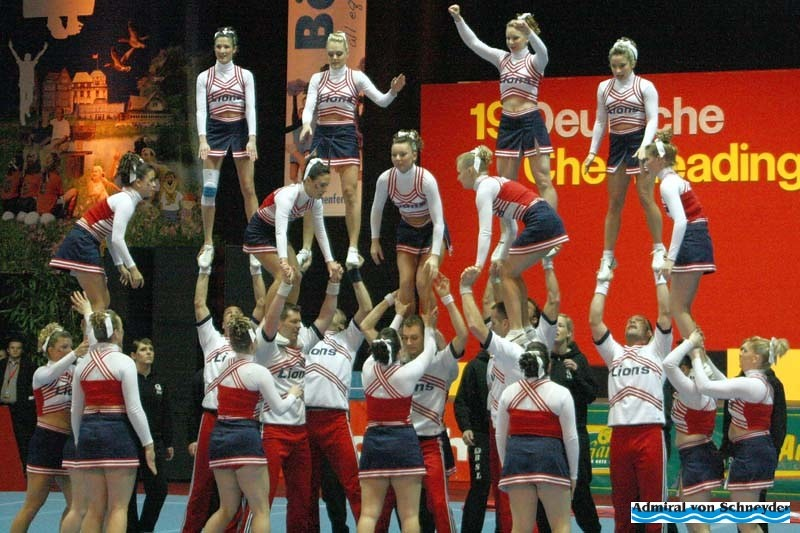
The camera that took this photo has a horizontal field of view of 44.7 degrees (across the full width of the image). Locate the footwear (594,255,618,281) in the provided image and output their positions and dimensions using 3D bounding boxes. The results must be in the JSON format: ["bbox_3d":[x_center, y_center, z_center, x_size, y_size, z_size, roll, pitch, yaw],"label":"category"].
[{"bbox_3d":[2.741,0.039,12.841,0.257,0.332,0.128,4,-17,1],"label":"footwear"}]

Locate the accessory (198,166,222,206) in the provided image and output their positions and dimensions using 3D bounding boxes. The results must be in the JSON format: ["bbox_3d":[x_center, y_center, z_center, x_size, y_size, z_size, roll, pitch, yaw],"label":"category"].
[{"bbox_3d":[-2.701,-1.081,13.697,0.246,0.531,0.218,3,-5,-7],"label":"accessory"}]

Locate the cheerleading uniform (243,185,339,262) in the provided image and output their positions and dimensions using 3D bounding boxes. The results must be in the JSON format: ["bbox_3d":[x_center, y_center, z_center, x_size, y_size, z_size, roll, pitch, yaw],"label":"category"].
[{"bbox_3d":[-1.508,-0.595,12.930,1.284,1.115,0.986,10,3,32],"label":"cheerleading uniform"}]

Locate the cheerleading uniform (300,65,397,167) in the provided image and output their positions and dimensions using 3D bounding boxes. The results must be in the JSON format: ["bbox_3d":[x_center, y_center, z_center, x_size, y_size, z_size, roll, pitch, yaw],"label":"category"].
[{"bbox_3d":[-0.807,-2.054,13.547,1.047,1.367,0.476,2,-6,-6],"label":"cheerleading uniform"}]

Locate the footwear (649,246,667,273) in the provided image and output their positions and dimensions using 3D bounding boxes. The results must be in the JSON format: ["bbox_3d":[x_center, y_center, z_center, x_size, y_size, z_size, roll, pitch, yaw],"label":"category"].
[{"bbox_3d":[3.458,-0.121,12.962,0.143,0.447,0.173,-6,-35,33],"label":"footwear"}]

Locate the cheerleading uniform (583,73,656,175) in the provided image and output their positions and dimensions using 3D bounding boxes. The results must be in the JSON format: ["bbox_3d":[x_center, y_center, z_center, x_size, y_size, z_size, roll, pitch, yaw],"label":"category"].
[{"bbox_3d":[3.018,-1.911,13.103,0.909,1.319,0.336,-4,-8,38],"label":"cheerleading uniform"}]

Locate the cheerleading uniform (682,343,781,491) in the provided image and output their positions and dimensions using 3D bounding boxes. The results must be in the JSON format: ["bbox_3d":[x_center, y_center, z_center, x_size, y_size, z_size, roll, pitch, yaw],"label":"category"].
[{"bbox_3d":[4.349,1.943,12.364,1.387,2.063,0.573,5,-7,-29],"label":"cheerleading uniform"}]

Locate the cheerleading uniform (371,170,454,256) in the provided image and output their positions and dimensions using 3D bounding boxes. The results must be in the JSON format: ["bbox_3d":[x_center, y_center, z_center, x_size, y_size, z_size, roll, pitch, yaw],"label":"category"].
[{"bbox_3d":[0.122,-0.691,12.885,1.009,1.388,0.954,0,22,7],"label":"cheerleading uniform"}]

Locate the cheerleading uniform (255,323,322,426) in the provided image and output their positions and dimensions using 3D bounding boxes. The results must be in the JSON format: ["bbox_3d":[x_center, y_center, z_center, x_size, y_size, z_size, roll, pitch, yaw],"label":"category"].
[{"bbox_3d":[-1.441,1.388,12.320,0.408,1.431,1.161,-9,-14,41],"label":"cheerleading uniform"}]

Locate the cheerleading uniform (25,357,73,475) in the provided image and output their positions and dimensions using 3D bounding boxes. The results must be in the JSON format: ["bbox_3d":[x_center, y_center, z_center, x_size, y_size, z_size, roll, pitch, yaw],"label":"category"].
[{"bbox_3d":[-4.589,1.977,12.901,0.857,1.567,0.474,-4,-8,40],"label":"cheerleading uniform"}]

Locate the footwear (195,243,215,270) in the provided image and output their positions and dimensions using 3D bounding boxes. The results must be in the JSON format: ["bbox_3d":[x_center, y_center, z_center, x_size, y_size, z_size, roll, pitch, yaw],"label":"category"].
[{"bbox_3d":[-2.615,-0.118,13.151,0.231,0.346,0.130,0,-21,8],"label":"footwear"}]

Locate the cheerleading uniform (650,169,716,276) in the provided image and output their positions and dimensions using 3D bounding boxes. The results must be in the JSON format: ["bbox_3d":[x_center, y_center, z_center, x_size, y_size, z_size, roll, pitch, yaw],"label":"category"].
[{"bbox_3d":[3.684,-0.595,12.513,0.768,1.360,0.380,5,-7,-28],"label":"cheerleading uniform"}]
